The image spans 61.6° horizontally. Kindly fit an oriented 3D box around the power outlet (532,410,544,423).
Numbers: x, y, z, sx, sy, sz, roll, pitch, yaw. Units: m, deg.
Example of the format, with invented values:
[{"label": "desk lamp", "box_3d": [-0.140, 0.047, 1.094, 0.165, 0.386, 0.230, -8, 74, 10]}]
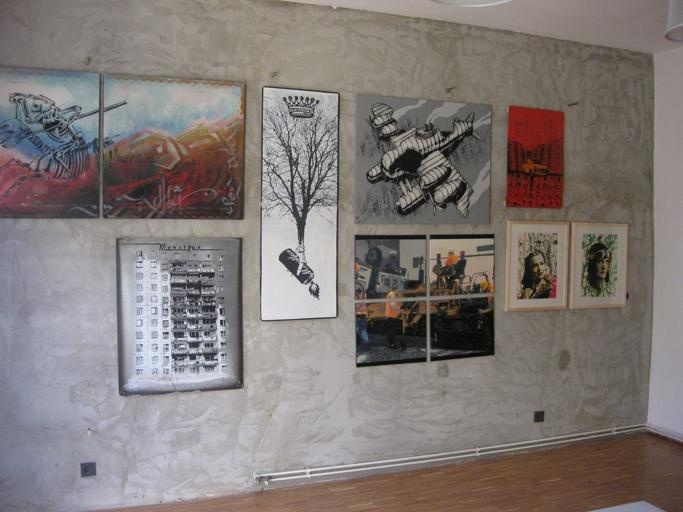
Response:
[{"label": "power outlet", "box_3d": [1.934, 1.584, 5.678, 0.130, 0.135, 0.017, -2, 10, -13]}]
